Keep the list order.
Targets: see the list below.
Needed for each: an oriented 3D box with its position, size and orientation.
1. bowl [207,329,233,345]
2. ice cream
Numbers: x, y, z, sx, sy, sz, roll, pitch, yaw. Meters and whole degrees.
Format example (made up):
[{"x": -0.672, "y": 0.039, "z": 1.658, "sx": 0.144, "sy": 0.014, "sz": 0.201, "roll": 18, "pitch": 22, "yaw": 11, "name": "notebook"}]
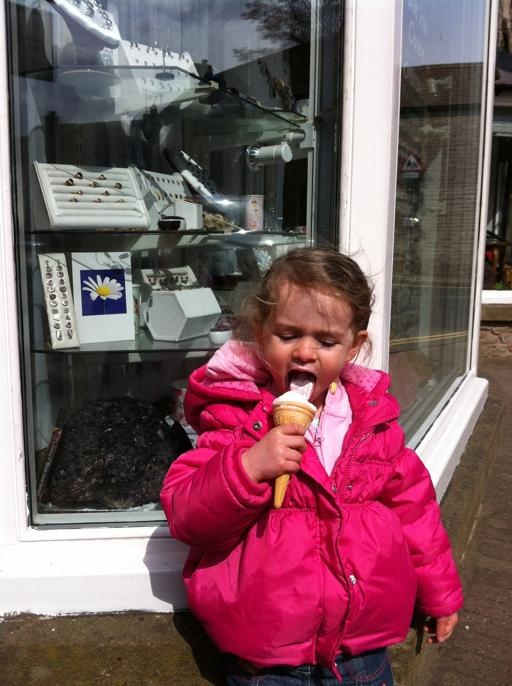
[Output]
[{"x": -0.124, "y": -0.024, "z": 1.968, "sx": 0.057, "sy": 0.039, "sz": 0.056, "roll": 0, "pitch": 2, "yaw": 0, "name": "bowl"}, {"x": 0.072, "y": 0.227, "z": 1.207, "sx": 0.085, "sy": 0.255, "sz": 0.239, "roll": 4, "pitch": 11, "yaw": 3, "name": "ice cream"}]
